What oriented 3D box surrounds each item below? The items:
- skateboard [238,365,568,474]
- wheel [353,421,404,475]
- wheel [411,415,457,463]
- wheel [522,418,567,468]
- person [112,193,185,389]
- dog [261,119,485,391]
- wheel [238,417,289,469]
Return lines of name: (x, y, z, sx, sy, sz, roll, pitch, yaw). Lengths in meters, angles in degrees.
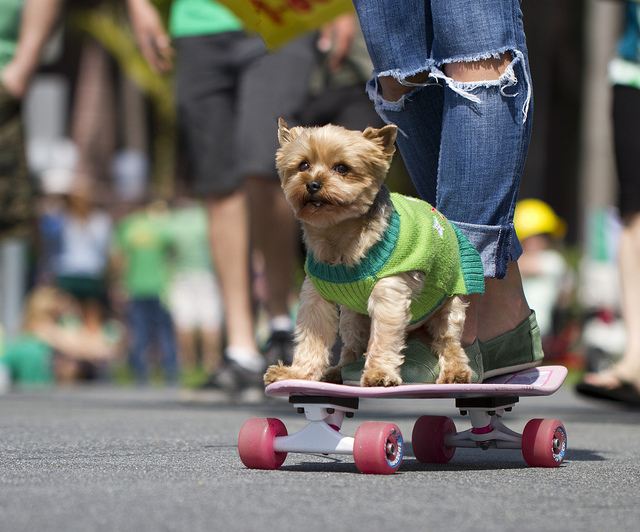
skateboard: (0.259, 0.475, 3.636, 0.723, 0.242, 0.438, 1, -6, -3)
wheel: (0.171, 0.520, 3.485, 0.100, 0.147, 0.151, 2, 7, 31)
wheel: (0.372, 0.550, 3.856, 0.095, 0.172, 0.160, -3, 3, 31)
wheel: (0.703, 0.543, 3.730, 0.088, 0.166, 0.170, 1, 2, 31)
person: (-0.666, 0.062, 4.537, 0.217, 0.696, 0.849, -2, 6, -8)
dog: (0.179, -0.009, 3.750, 0.538, 0.801, 0.808, -1, 0, 33)
wheel: (-0.168, 0.524, 3.597, 0.096, 0.165, 0.167, -1, 8, 23)
